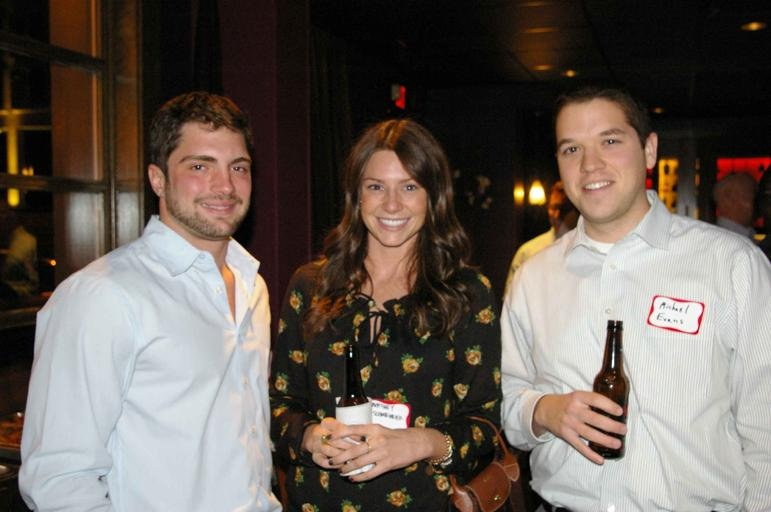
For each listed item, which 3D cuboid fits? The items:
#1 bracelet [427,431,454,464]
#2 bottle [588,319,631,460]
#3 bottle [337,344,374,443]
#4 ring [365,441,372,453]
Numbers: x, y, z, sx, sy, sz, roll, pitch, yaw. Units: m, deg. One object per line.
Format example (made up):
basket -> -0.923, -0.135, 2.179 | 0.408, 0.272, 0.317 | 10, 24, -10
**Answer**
bracelet -> 0.231, 0.841, 2.872 | 0.128, 0.141, 0.052 | -13, -4, -25
bottle -> 0.935, 0.563, 2.724 | 0.176, 0.556, 0.195 | -4, 0, 20
bottle -> -0.141, 0.545, 2.746 | 0.149, 0.381, 0.189 | -4, 0, -3
ring -> -0.075, 0.786, 2.674 | 0.036, 0.034, 0.031 | -1, -22, -6
